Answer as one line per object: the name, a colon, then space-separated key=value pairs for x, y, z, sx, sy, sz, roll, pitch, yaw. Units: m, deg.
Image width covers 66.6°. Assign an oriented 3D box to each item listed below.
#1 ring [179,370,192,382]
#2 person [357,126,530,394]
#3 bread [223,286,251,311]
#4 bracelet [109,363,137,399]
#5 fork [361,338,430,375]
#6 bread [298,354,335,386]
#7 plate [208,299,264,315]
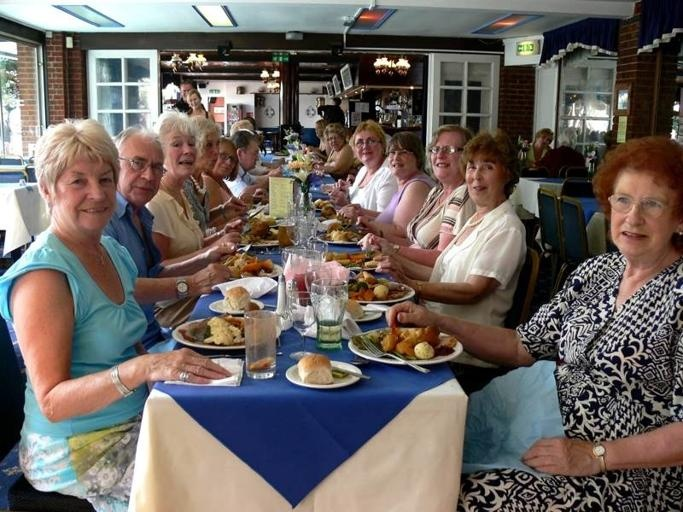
ring: x=-0.387 y=0.296 z=1.284 sx=0.020 sy=0.010 sz=0.026 roll=1 pitch=16 yaw=2
person: x=0.515 y=0.067 z=2.560 sx=0.700 sy=1.260 sz=0.641 roll=-2 pitch=17 yaw=-6
bread: x=-0.351 y=0.140 z=1.786 sx=0.088 sy=0.090 sz=0.093 roll=1 pitch=-1 yaw=40
bracelet: x=-0.552 y=0.324 z=1.346 sx=0.064 sy=0.071 sz=0.030 roll=24 pitch=45 yaw=40
fork: x=0.154 y=0.280 z=1.434 sx=0.159 sy=0.022 sz=0.022 roll=29 pitch=27 yaw=37
bread: x=-0.066 y=0.285 z=1.291 sx=0.068 sy=0.054 sz=0.087 roll=1 pitch=0 yaw=-12
plate: x=-0.390 y=0.180 z=1.793 sx=0.098 sy=0.014 sz=0.098 roll=4 pitch=7 yaw=29
